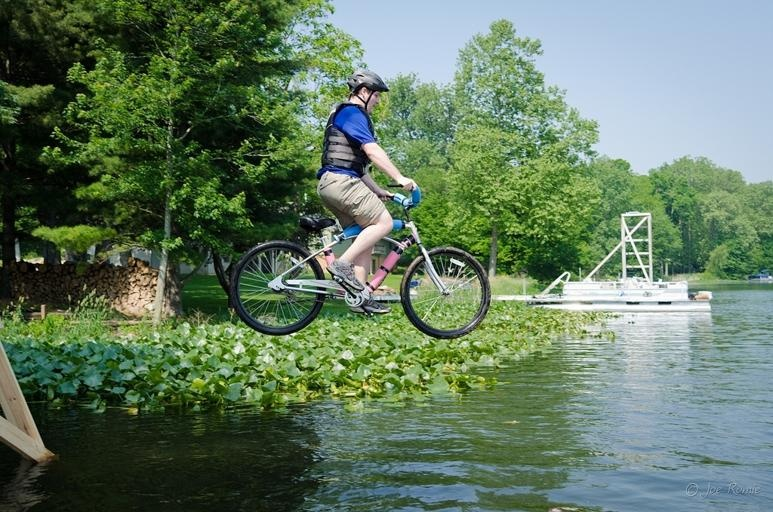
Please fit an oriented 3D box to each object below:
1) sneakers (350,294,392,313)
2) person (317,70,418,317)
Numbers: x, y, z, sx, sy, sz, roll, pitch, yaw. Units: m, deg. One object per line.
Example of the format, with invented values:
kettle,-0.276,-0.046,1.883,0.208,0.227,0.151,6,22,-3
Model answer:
sneakers,-0.209,0.716,11.172,0.680,0.221,0.217,0,1,1
person,-0.369,-1.090,11.165,0.916,3.087,0.839,-5,14,-34
